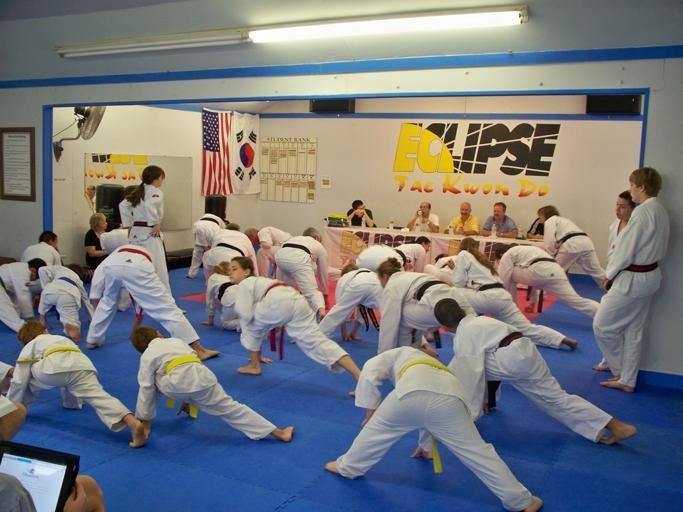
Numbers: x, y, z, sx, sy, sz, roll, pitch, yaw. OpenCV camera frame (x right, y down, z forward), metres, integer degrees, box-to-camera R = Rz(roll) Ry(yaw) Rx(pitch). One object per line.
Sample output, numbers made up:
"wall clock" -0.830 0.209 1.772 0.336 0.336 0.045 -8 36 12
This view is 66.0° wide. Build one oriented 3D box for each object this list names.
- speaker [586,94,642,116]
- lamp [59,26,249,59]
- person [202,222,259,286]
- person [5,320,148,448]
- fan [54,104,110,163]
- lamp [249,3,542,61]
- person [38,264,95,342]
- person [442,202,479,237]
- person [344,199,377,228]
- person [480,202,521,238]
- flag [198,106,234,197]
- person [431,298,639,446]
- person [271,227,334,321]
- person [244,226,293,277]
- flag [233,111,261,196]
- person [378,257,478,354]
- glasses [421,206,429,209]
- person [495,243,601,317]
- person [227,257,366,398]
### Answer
"speaker" 5.280 -2.941 10.211 1.000 0.361 0.563 7 13 24
"lamp" -2.737 -3.112 7.703 3.419 0.217 0.252 7 13 23
"person" -1.870 -0.010 8.849 0.760 0.755 0.992 0 6 0
"person" -2.210 1.116 4.457 1.113 0.809 0.342 3 11 7
"fan" -4.709 -2.279 9.717 0.967 1.215 0.841 -2 19 -21
"lamp" 0.489 -2.731 6.244 3.251 0.219 0.317 6 12 22
"person" -3.503 0.591 6.667 0.485 0.650 1.291 0 23 -20
"person" 2.441 -0.709 10.521 0.677 0.731 0.852 3 7 27
"person" 0.370 -0.887 11.073 0.499 0.532 0.859 1 12 -4
"person" 3.084 -0.586 10.303 0.740 0.893 0.494 2 3 33
"flag" -3.024 -2.514 12.755 0.258 2.001 1.116 6 12 20
"person" 1.841 1.115 4.939 1.406 0.661 0.473 30 41 30
"person" -0.523 0.203 7.634 0.681 1.423 0.507 0 -5 -18
"person" -1.229 0.006 9.264 0.780 1.057 0.633 -9 -4 0
"flag" -2.458 -2.651 13.622 0.208 2.043 1.076 7 13 27
"person" 0.854 0.466 5.250 0.934 0.967 0.637 -3 14 27
"glasses" 1.731 -1.012 10.793 0.189 0.071 0.067 -4 13 -27
"person" 3.090 0.359 7.993 1.429 0.775 0.532 28 5 34
"person" -0.560 0.727 5.676 1.957 1.261 0.660 4 3 35
